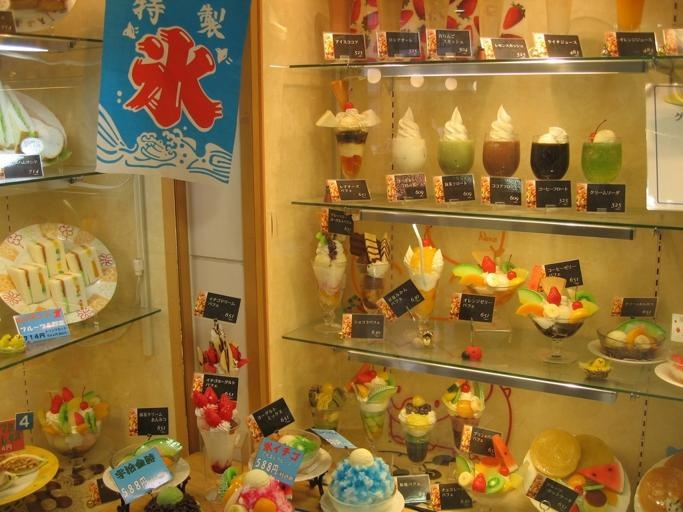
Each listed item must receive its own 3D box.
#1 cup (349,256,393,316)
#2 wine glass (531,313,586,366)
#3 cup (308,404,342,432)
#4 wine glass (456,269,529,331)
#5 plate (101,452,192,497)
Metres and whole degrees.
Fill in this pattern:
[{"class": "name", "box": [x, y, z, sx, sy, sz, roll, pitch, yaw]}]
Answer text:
[{"class": "cup", "box": [0.120, 0.109, 2.380, 0.198, 0.325, 0.204, 1, 11, 0]}, {"class": "wine glass", "box": [0.829, 0.294, 2.064, 0.173, 0.192, 0.241, 1, 11, 22]}, {"class": "cup", "box": [-0.076, 0.700, 2.365, 0.113, 0.095, 0.108, 2, 2, 0]}, {"class": "wine glass", "box": [0.596, 0.151, 2.176, 0.252, 0.230, 0.280, 0, -3, 2]}, {"class": "plate", "box": [-0.716, 0.804, 1.957, 0.207, 0.047, 0.213, 5, 7, 35]}]
